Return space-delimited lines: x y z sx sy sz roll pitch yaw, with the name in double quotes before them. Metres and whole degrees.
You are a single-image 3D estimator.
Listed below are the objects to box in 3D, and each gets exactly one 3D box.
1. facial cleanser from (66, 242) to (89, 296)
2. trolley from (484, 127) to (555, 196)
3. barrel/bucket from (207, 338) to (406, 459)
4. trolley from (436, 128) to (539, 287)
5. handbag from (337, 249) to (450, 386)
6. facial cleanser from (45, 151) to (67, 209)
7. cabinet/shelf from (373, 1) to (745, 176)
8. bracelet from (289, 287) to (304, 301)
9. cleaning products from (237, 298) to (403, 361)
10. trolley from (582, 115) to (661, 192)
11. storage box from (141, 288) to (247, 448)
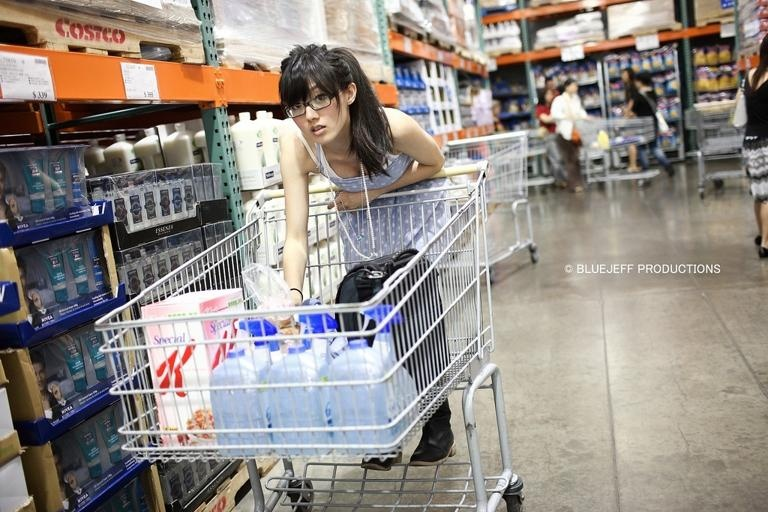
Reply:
"facial cleanser" -1.216 0.049 2.056 0.023 0.211 0.068 -4 11 17
"trolley" 2.938 -2.142 11.649 0.980 1.594 1.578 -7 13 9
"barrel/bucket" -0.223 0.404 1.544 0.602 0.301 0.208 -5 11 12
"trolley" 1.200 -0.651 5.850 1.275 1.420 0.882 -9 -7 18
"handbag" 0.036 0.203 1.618 0.215 0.388 0.237 16 49 41
"facial cleanser" -1.272 -0.291 2.013 0.032 0.211 0.093 -7 11 4
"cabinet/shelf" 3.456 -3.050 9.050 5.820 2.990 1.247 -1 21 10
"bracelet" -0.316 0.142 1.904 0.041 0.058 0.055 -8 29 -11
"cleaning products" -0.211 0.228 1.607 0.377 0.159 0.239 -3 17 10
"trolley" 3.353 -1.528 7.420 1.018 0.964 2.243 -2 12 27
"storage box" -0.536 0.377 1.748 0.465 0.459 0.261 -18 -13 20
